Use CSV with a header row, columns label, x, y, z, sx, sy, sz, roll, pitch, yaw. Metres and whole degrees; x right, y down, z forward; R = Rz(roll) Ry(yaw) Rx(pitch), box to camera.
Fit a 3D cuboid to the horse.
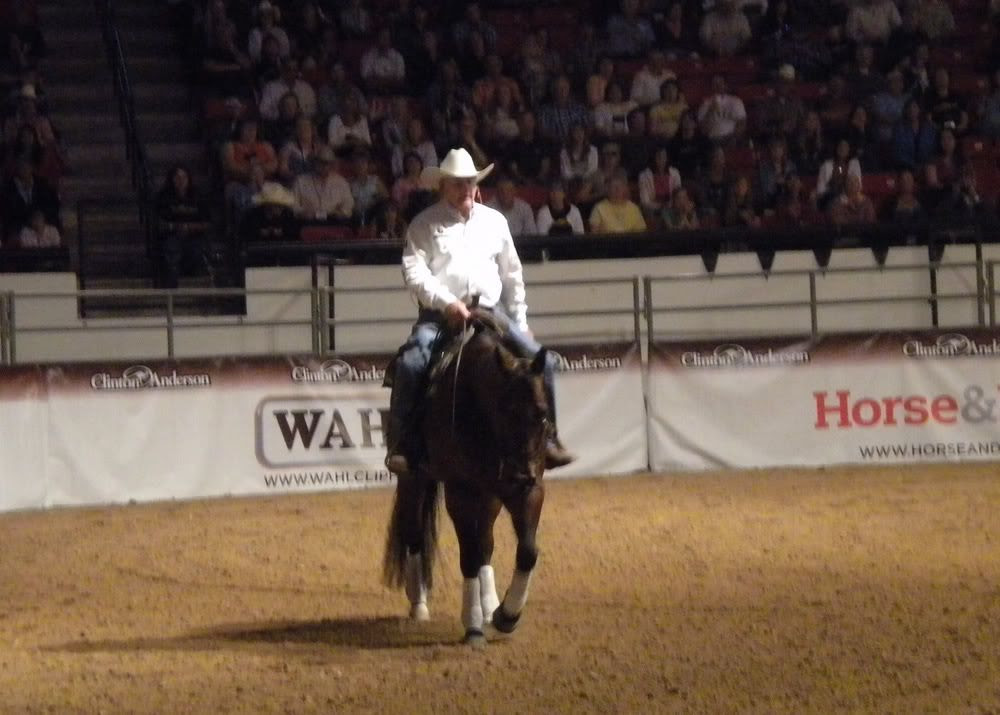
label,x,y,z,sx,sy,sz,roll,pitch,yaw
horse,-0.469,1.817,39.840,1.554,4.716,5.843,1,-1,-19
